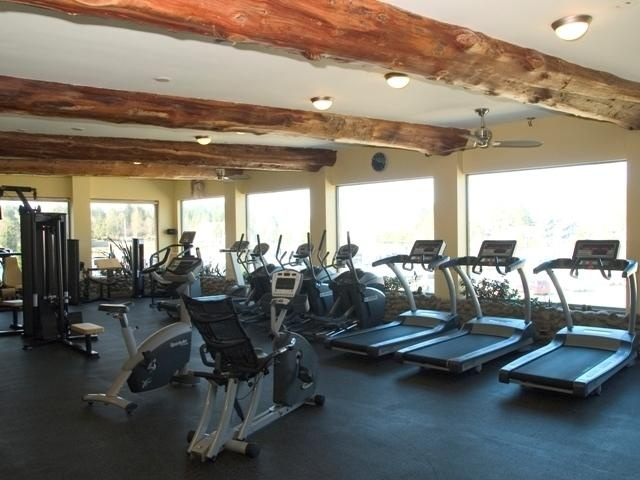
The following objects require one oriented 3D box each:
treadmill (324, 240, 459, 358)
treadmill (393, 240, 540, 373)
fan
[{"bbox_3d":[1.173,0.881,7.144,1.162,1.220,2.234,2,6,43],"label":"treadmill"},{"bbox_3d":[2.019,0.902,6.409,2.318,1.310,1.065,-5,6,-43],"label":"treadmill"},{"bbox_3d":[2.236,-1.306,6.161,1.173,0.323,1.011,-2,7,-20],"label":"fan"}]
